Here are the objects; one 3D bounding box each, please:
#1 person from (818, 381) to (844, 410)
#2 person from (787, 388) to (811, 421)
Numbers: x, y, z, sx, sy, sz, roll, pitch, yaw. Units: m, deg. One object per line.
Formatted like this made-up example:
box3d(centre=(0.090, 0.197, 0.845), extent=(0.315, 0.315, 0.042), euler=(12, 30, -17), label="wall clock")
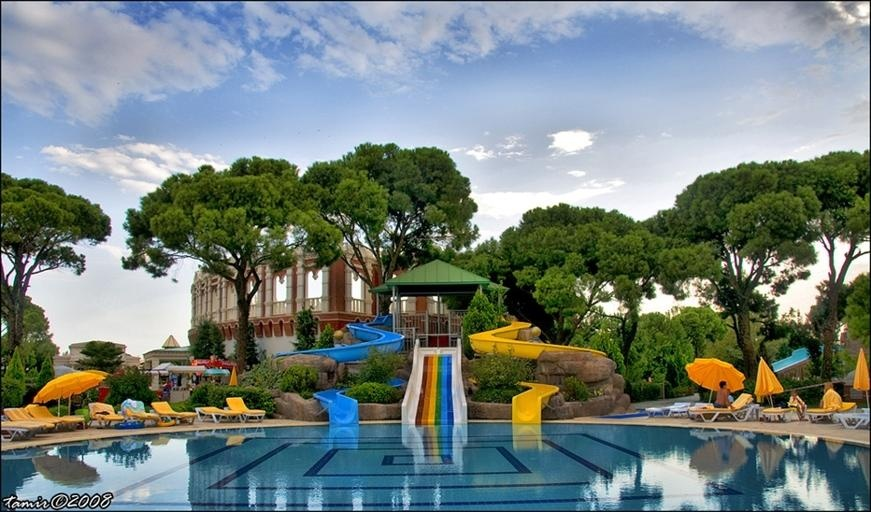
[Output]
box3d(centre=(17.914, 6.479, 26.403), extent=(0.725, 0.868, 1.580), euler=(-9, -10, 39), label="person")
box3d(centre=(16.819, 6.877, 27.088), extent=(0.578, 1.399, 0.984), euler=(-7, -8, 28), label="person")
